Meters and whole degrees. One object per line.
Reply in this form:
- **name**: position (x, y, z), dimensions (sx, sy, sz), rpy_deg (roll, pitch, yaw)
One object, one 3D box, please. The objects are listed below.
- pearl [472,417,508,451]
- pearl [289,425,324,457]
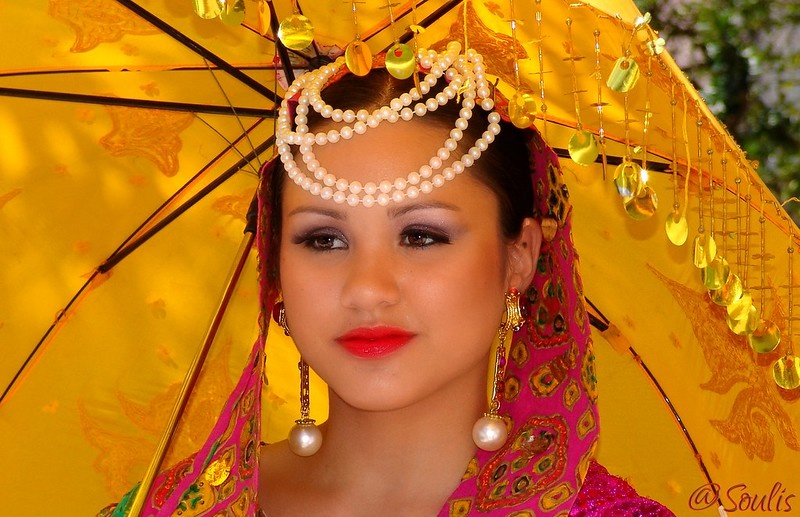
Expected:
- **pearl**: position (0.326, 0.665, 3.445), dimensions (0.131, 0.136, 0.128), rpy_deg (-5, 5, -44)
- **pearl**: position (-0.373, 0.714, 3.563), dimensions (0.121, 0.131, 0.122), rpy_deg (0, 2, 5)
